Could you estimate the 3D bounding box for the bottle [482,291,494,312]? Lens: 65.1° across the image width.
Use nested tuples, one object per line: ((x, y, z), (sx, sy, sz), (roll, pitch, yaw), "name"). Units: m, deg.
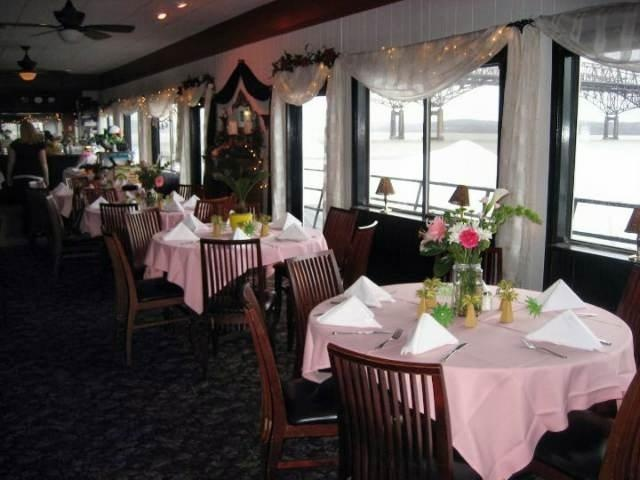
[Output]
((1.031, 0.361, 3.072), (0.050, 0.125, 0.218), (5, 14, 25), "bottle")
